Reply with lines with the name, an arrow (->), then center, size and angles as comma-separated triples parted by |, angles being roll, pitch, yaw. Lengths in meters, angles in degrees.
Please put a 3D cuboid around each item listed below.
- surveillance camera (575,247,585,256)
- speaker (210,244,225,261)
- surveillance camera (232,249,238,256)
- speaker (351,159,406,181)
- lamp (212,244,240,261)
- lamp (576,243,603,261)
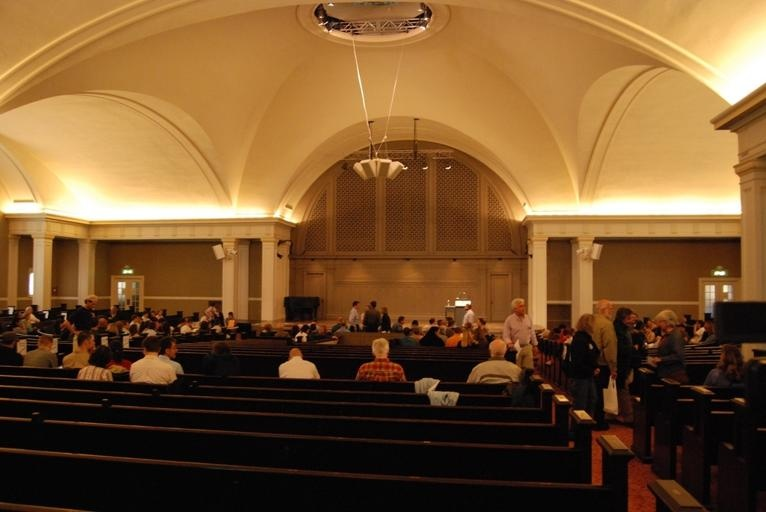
surveillance camera -> 6.522, -0.140, 19.201 | 0.211, 0.207, 0.061 | 20, 3, 33
speaker -> -6.116, -0.156, 21.832 | 0.524, 0.568, 0.529 | -25, -11, 27
surveillance camera -> -5.417, -0.133, 21.471 | 0.259, 0.243, 0.177 | 1, -7, -17
speaker -> -0.175, -2.400, 15.993 | 0.938, 0.307, 0.919 | -1, 0, 12
lamp -> -5.746, -0.143, 21.324 | 0.785, 0.547, 0.516 | 3, -8, -42
lamp -> 6.767, -0.135, 19.189 | 0.673, 0.437, 0.649 | 1, -2, 7
